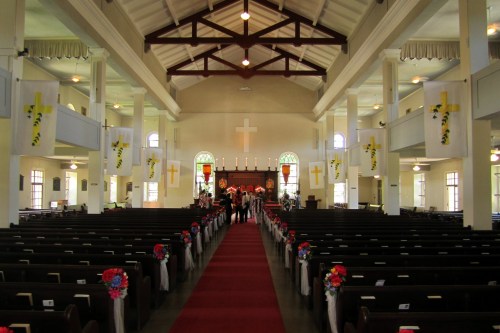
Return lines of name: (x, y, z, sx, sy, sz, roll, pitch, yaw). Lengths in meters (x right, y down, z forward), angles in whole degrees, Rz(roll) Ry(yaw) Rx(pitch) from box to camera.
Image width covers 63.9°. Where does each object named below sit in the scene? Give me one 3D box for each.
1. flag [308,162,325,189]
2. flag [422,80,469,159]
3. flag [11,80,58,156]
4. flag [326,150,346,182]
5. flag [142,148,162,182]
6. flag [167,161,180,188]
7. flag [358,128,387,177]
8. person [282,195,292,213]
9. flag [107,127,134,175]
flag: (3.392, 0.383, 20.385, 0.764, 1.292, 0.696, 1, 6, 6)
flag: (5.402, -1.310, 11.118, 1.164, 2.134, 0.407, 4, 7, 25)
flag: (-5.829, -1.329, 10.970, 0.084, 2.110, 1.149, 17, 15, 37)
flag: (4.000, -0.048, 18.607, 0.838, 1.559, 0.514, 2, 7, 11)
flag: (-4.306, -0.056, 17.675, 0.870, 1.539, 0.031, 2, 1, -2)
flag: (-4.035, 0.399, 20.803, 0.737, 1.418, 0.062, 3, 20, -8)
flag: (4.412, -0.554, 14.462, 0.966, 1.816, 0.047, -1, -2, 0)
person: (1.874, 1.913, 20.772, 0.411, 0.821, 1.468, 0, -3, 5)
flag: (-4.803, -0.586, 14.814, 0.913, 1.741, 0.599, -2, 7, -20)
